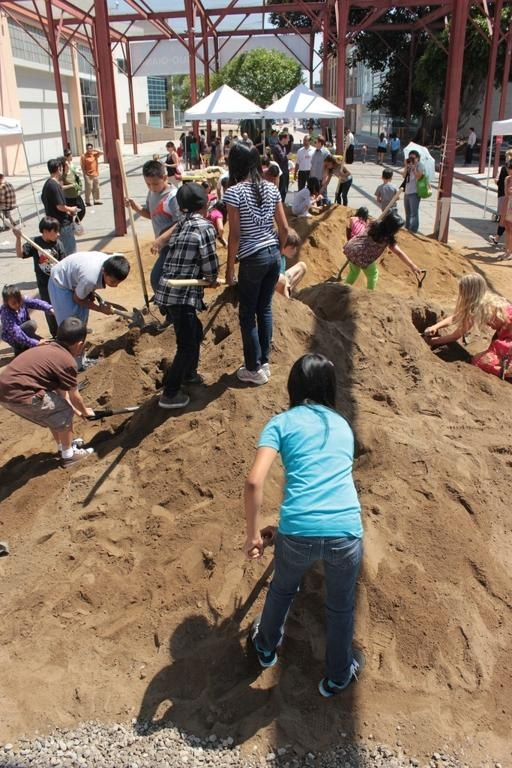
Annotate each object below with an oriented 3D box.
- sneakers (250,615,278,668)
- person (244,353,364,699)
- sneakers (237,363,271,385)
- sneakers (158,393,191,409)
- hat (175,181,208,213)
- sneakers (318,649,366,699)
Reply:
[{"bbox_3d":[0.020,1.180,2.549,0.103,0.288,0.127,4,-5,-5],"label":"sneakers"},{"bbox_3d":[0.192,0.624,2.325,0.466,1.418,0.481,-2,21,1],"label":"person"},{"bbox_3d":[-0.019,-0.082,3.900,0.103,0.135,0.235,-28,42,-31],"label":"sneakers"},{"bbox_3d":[-0.583,0.110,4.060,0.211,0.107,0.091,-4,11,-18],"label":"sneakers"},{"bbox_3d":[-0.406,-1.218,3.655,0.160,0.215,0.132,0,-21,14],"label":"hat"},{"bbox_3d":[0.367,1.258,2.441,0.096,0.126,0.272,29,45,29],"label":"sneakers"}]
